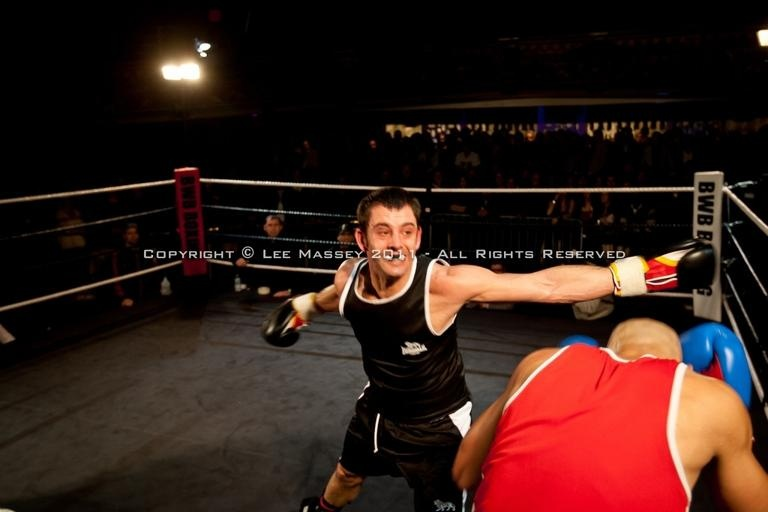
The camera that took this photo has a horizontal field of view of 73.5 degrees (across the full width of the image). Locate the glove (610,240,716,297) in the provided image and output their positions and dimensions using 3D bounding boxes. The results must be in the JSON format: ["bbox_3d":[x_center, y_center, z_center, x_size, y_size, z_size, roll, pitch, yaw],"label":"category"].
[{"bbox_3d":[1.166,0.048,2.139,0.415,0.159,0.253,-19,3,41],"label":"glove"}]

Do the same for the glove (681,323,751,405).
[{"bbox_3d":[1.767,0.548,2.836,0.375,0.211,0.505,-29,7,27],"label":"glove"}]
